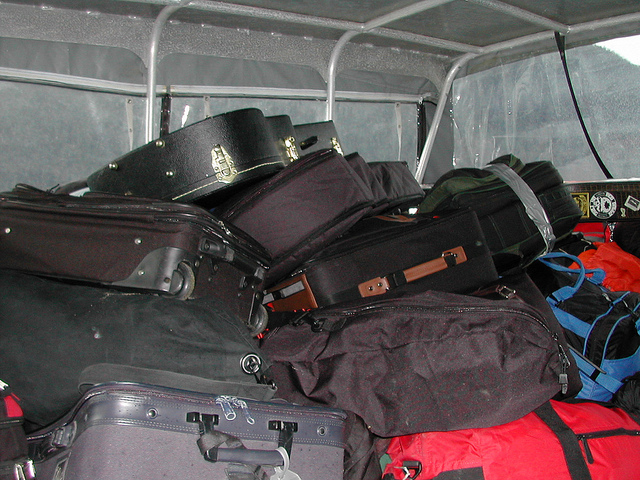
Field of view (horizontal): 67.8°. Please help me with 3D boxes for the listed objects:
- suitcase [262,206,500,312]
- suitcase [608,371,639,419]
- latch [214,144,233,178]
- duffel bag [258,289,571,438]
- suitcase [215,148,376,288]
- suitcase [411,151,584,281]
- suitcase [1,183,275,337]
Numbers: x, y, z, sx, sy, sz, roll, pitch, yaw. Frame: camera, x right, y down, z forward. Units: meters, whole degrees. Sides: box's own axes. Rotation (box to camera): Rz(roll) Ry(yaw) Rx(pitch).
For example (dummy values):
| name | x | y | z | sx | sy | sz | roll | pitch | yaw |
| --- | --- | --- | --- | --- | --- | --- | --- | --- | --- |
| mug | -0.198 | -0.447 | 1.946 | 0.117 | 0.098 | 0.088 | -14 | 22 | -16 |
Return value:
| name | x | y | z | sx | sy | sz | roll | pitch | yaw |
| --- | --- | --- | --- | --- | --- | --- | --- | --- | --- |
| suitcase | 0.224 | 0.075 | 1.668 | 0.666 | 0.148 | 0.432 | -12 | -5 | -24 |
| suitcase | 1.029 | 0.516 | 1.591 | 0.100 | 0.111 | 0.125 | -24 | 10 | -28 |
| latch | -0.322 | -0.261 | 1.554 | 0.068 | 0.091 | 0.025 | -23 | 7 | -16 |
| duffel bag | 0.314 | 0.238 | 1.847 | 1.465 | 0.351 | 0.779 | 0 | 16 | 1 |
| suitcase | -0.096 | -0.123 | 1.842 | 0.647 | 0.409 | 0.549 | -8 | 20 | -34 |
| suitcase | 0.702 | -0.094 | 2.005 | 0.661 | 0.373 | 0.610 | -24 | -2 | 21 |
| suitcase | -0.534 | -0.002 | 1.292 | 0.637 | 0.159 | 0.480 | 8 | -11 | 25 |
